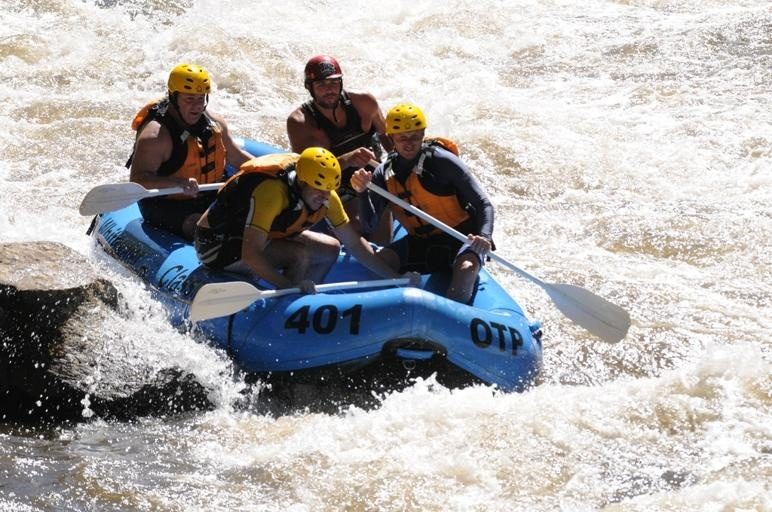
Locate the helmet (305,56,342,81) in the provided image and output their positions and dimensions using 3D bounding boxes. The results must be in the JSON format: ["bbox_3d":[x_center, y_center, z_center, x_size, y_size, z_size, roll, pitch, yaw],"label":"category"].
[{"bbox_3d":[-0.651,-1.982,11.884,0.260,0.161,0.348,-5,2,-38],"label":"helmet"}]

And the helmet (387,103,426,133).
[{"bbox_3d":[0.197,-1.351,11.375,0.386,0.331,0.314,2,32,0],"label":"helmet"}]

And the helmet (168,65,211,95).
[{"bbox_3d":[-2.005,-1.761,11.511,0.401,0.314,0.288,-5,33,-11],"label":"helmet"}]

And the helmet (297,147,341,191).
[{"bbox_3d":[-0.645,-0.833,10.852,0.439,0.281,0.342,43,28,26],"label":"helmet"}]

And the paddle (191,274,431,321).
[{"bbox_3d":[-0.791,0.418,10.908,2.478,0.126,0.395,-3,51,-9],"label":"paddle"}]

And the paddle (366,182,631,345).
[{"bbox_3d":[1.155,0.142,11.940,3.777,0.482,0.257,25,9,8],"label":"paddle"}]
